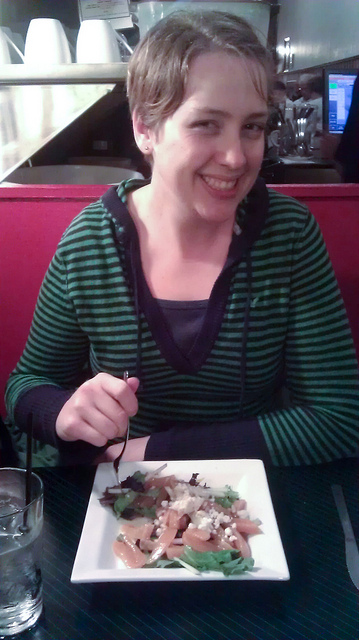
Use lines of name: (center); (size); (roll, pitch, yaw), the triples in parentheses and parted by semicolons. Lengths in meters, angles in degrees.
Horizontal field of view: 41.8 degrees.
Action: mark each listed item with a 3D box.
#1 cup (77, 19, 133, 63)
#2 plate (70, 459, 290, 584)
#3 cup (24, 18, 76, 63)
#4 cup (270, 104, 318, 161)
cup: (-0.218, -0.893, 1.558); (0.075, 0.114, 0.127); (-23, 61, -21)
plate: (-0.001, 0.278, 0.677); (0.275, 0.040, 0.284); (0, 14, 0)
cup: (-0.427, -0.907, 1.594); (0.179, 0.180, 0.139); (5, 23, -6)
cup: (0.524, -0.853, 2.138); (0.181, 0.271, 0.244); (5, 14, 20)
